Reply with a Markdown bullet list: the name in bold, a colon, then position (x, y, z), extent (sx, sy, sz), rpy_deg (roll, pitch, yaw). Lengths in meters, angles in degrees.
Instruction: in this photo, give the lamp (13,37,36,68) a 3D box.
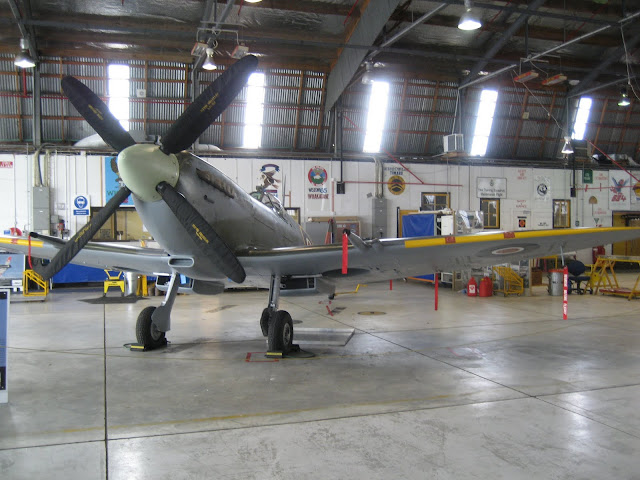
- **lamp**: position (-6.442, -4.190, 11.956), extent (0.558, 0.611, 0.478), rpy_deg (1, 28, -13)
